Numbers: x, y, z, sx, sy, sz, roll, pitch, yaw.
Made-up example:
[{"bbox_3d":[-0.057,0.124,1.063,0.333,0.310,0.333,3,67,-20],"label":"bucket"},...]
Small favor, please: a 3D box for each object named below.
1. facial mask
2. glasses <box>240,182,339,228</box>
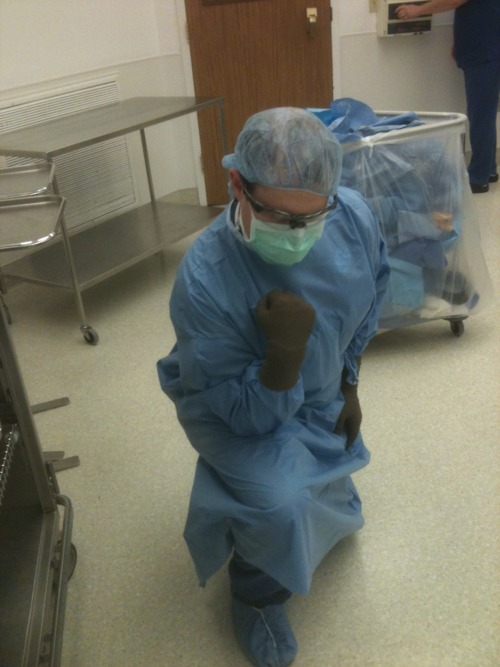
[{"bbox_3d":[0.060,-0.196,1.016,0.090,0.118,0.106,-12,33,-32],"label":"facial mask"},{"bbox_3d":[0.097,-0.248,1.009,0.202,0.078,0.117,-21,28,-24],"label":"glasses"}]
